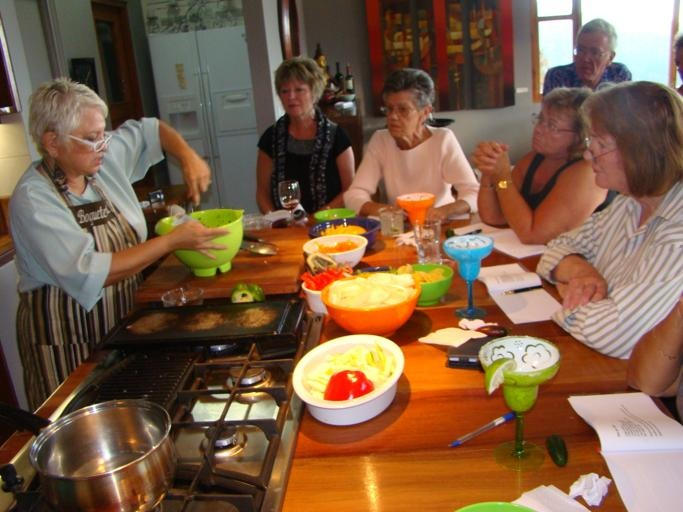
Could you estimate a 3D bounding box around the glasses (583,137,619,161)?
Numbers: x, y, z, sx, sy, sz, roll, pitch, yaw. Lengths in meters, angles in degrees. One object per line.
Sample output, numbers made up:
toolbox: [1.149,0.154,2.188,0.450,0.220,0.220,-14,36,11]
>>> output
glasses: [0.936,-0.388,1.770,0.095,0.041,0.071,8,23,5]

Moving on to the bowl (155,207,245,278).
bowl: [-0.585,-0.034,2.216,0.347,0.261,0.398,-15,6,37]

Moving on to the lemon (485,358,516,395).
lemon: [0.386,0.296,1.178,0.074,0.100,0.046,-4,23,6]

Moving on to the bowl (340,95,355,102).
bowl: [0.061,-1.556,4.814,0.120,0.051,0.121,-4,16,1]

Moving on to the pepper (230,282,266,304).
pepper: [-0.351,0.146,1.860,0.073,0.041,0.093,0,16,-3]

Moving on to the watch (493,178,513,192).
watch: [0.823,-0.363,2.496,0.063,0.022,0.060,-2,42,32]

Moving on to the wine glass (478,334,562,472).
wine glass: [0.449,0.324,1.253,0.195,0.220,0.392,3,24,23]

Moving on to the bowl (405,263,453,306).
bowl: [0.323,0.114,1.820,0.186,0.099,0.177,-4,19,1]

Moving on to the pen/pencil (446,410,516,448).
pen/pencil: [0.358,0.444,1.239,0.248,0.024,0.026,-19,25,-25]

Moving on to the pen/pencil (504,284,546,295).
pen/pencil: [0.688,0.130,1.851,0.126,0.012,0.013,-13,-1,-3]
